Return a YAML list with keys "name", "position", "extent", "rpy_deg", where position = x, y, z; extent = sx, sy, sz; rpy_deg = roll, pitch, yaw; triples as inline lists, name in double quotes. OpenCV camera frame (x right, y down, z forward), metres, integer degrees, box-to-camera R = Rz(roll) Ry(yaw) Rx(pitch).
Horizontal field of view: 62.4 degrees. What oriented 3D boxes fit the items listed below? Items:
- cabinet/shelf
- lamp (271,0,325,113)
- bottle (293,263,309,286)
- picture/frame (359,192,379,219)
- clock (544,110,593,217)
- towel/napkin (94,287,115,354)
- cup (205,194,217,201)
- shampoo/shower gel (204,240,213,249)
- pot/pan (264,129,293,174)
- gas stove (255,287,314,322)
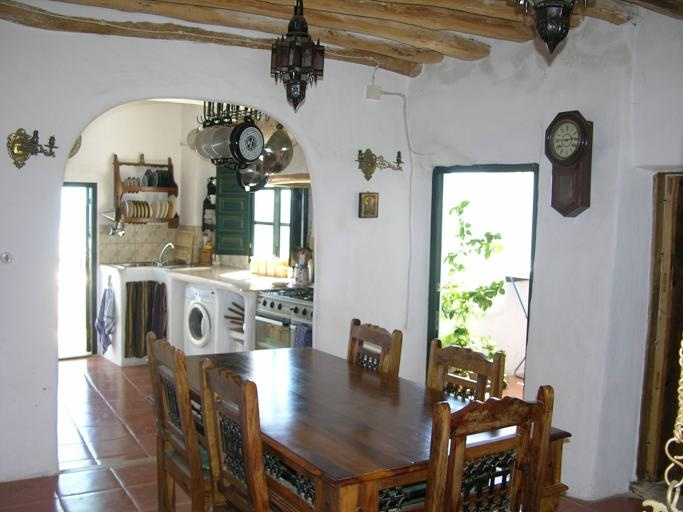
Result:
- name: "cabinet/shelf"
  position: [-2.639, -0.816, 7.280]
  extent: [0.918, 1.238, 0.351]
  rpy_deg: [-4, 4, -43]
- name: "lamp"
  position: [-0.221, -1.031, 2.844]
  extent: [0.262, 0.548, 0.270]
  rpy_deg: [2, 7, -5]
- name: "bottle"
  position: [-0.432, 0.209, 6.074]
  extent: [0.173, 0.213, 0.188]
  rpy_deg: [-1, 4, -8]
- name: "picture/frame"
  position: [0.232, -0.454, 4.979]
  extent: [0.191, 0.253, 0.047]
  rpy_deg: [-1, 11, -19]
- name: "clock"
  position: [1.530, -0.613, 3.817]
  extent: [0.129, 0.697, 0.311]
  rpy_deg: [-2, 8, -35]
- name: "towel/napkin"
  position: [-2.857, 0.808, 6.818]
  extent: [0.135, 0.898, 0.403]
  rpy_deg: [-3, 9, -40]
- name: "cup"
  position: [-1.699, -0.754, 7.380]
  extent: [0.056, 0.116, 0.199]
  rpy_deg: [-2, 9, -36]
- name: "shampoo/shower gel"
  position: [-1.783, -0.146, 7.559]
  extent: [0.102, 0.114, 0.189]
  rpy_deg: [5, 8, -8]
- name: "pot/pan"
  position: [-0.606, -0.979, 5.396]
  extent: [0.346, 0.399, 0.124]
  rpy_deg: [2, -1, -35]
- name: "gas stove"
  position: [-0.475, 0.462, 5.475]
  extent: [0.436, 0.350, 0.147]
  rpy_deg: [-3, 1, 45]
